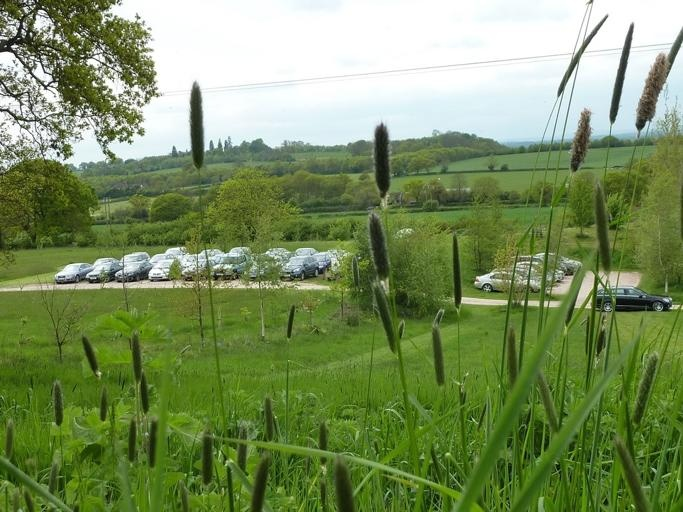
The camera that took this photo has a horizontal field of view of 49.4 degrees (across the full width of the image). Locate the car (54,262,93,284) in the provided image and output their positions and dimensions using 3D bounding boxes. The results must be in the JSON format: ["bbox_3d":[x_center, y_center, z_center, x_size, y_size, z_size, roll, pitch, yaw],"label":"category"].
[{"bbox_3d":[-15.273,0.988,42.622,0.896,0.804,2.281,0,3,2],"label":"car"}]
